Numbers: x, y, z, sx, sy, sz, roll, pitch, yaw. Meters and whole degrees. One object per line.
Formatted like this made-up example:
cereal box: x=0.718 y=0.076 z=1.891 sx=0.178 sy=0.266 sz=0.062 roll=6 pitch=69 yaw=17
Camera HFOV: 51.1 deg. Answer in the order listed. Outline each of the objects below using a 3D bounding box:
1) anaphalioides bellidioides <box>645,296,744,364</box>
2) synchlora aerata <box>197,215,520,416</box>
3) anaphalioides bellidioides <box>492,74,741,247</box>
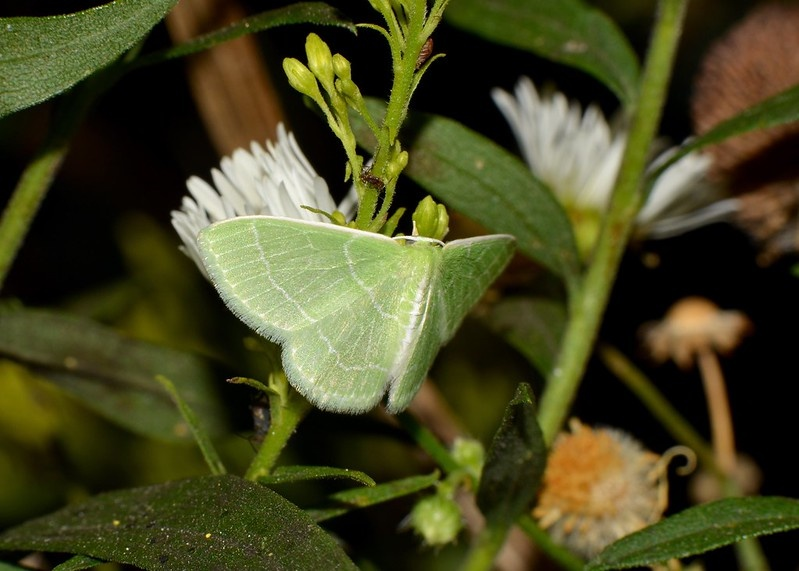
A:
anaphalioides bellidioides: x=0.377 y=0.048 z=1.093 sx=0.090 sy=0.034 sz=0.095 roll=12 pitch=55 yaw=51
synchlora aerata: x=-0.038 y=0.028 z=0.858 sx=0.323 sy=0.173 sz=0.110 roll=-2 pitch=38 yaw=-15
anaphalioides bellidioides: x=0.267 y=-0.149 z=1.117 sx=0.350 sy=0.142 sz=0.142 roll=32 pitch=43 yaw=24
